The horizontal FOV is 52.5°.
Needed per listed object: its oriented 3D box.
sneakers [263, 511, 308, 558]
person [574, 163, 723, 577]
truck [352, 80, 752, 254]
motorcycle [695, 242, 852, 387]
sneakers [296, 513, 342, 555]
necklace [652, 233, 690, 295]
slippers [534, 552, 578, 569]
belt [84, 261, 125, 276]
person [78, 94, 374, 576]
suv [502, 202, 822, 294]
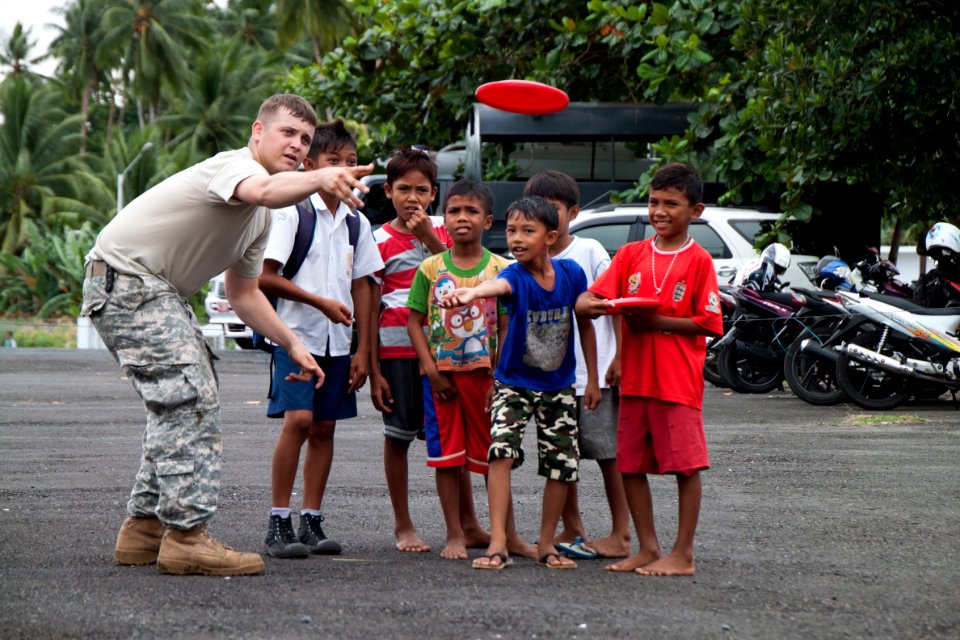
[{"bbox_3d":[-1.187,1.303,5.893,0.194,0.269,0.442,3,-9,-32],"label":"sneakers"},{"bbox_3d":[1.023,0.446,5.722,0.716,1.982,0.594,1,4,17],"label":"person"},{"bbox_3d":[1.477,-2.015,17.109,6.115,3.266,3.376,4,42,18],"label":"truck"},{"bbox_3d":[3.944,-0.027,13.007,2.450,1.529,1.085,-21,2,-28],"label":"motorcycle"},{"bbox_3d":[-1.012,1.303,5.995,0.155,0.236,0.376,11,-10,-43],"label":"sneakers"},{"bbox_3d":[1.118,-0.314,5.876,0.195,0.361,0.066,0,-30,30],"label":"necklace"},{"bbox_3d":[0.440,1.396,5.674,0.229,0.092,0.118,0,4,2],"label":"slippers"},{"bbox_3d":[-2.167,-0.283,5.518,0.114,0.084,0.114,-1,-3,3],"label":"belt"},{"bbox_3d":[-1.475,0.062,5.563,1.465,2.689,0.677,1,4,20],"label":"person"},{"bbox_3d":[3.003,-1.196,14.052,2.871,1.266,1.597,4,4,3],"label":"suv"}]
